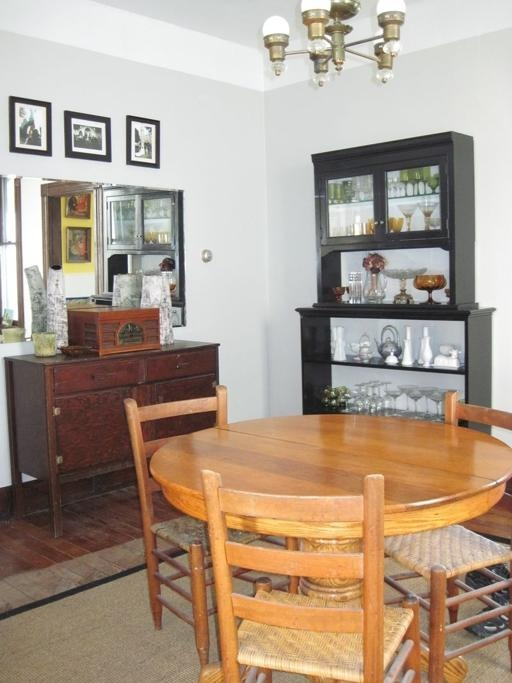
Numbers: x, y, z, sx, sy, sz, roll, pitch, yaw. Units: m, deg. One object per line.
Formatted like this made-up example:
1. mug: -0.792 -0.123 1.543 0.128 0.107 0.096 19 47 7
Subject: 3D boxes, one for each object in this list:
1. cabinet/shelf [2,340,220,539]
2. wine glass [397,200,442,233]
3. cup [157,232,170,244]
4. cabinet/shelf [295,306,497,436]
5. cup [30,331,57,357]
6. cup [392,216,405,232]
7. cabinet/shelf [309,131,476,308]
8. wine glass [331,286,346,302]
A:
1. cabinet/shelf: -0.787 0.465 2.886 0.344 0.697 0.971 5 9 39
2. wine glass: 0.941 -0.729 3.431 0.156 0.177 0.273 -6 8 -38
3. cup: -0.650 -0.727 4.099 0.051 0.086 0.094 0 4 35
4. cabinet/shelf: 0.840 0.136 3.420 0.815 0.656 0.265 3 5 43
5. cup: -1.164 0.012 3.219 0.131 0.129 0.131 2 2 0
6. cup: 0.845 -0.711 3.563 0.089 0.091 0.083 -3 -6 0
7. cabinet/shelf: 0.866 -0.749 3.630 1.277 1.230 0.401 2 5 43
8. wine glass: 0.569 -0.333 4.090 0.099 0.114 0.106 -7 10 -34
